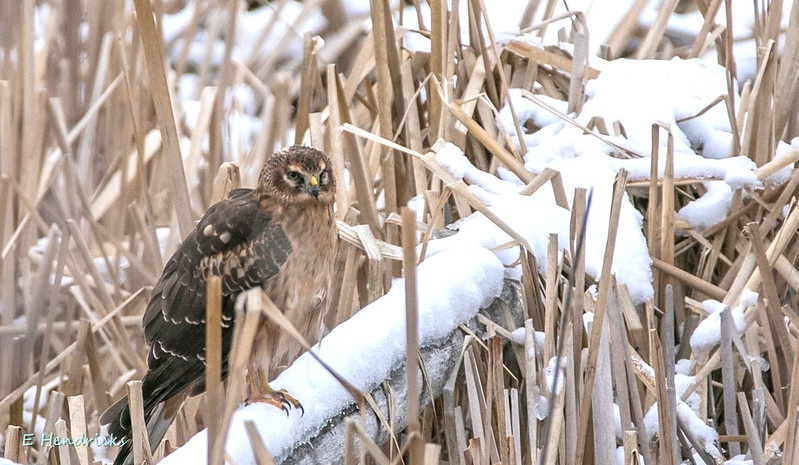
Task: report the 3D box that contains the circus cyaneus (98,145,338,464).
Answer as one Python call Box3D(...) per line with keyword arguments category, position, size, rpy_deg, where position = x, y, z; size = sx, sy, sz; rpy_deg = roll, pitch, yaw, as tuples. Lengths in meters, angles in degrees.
Box3D(category="circus cyaneus", position=(-0.829, 0.318, 6.448), size=(1.069, 1.459, 0.458), rpy_deg=(-5, 7, -4))
